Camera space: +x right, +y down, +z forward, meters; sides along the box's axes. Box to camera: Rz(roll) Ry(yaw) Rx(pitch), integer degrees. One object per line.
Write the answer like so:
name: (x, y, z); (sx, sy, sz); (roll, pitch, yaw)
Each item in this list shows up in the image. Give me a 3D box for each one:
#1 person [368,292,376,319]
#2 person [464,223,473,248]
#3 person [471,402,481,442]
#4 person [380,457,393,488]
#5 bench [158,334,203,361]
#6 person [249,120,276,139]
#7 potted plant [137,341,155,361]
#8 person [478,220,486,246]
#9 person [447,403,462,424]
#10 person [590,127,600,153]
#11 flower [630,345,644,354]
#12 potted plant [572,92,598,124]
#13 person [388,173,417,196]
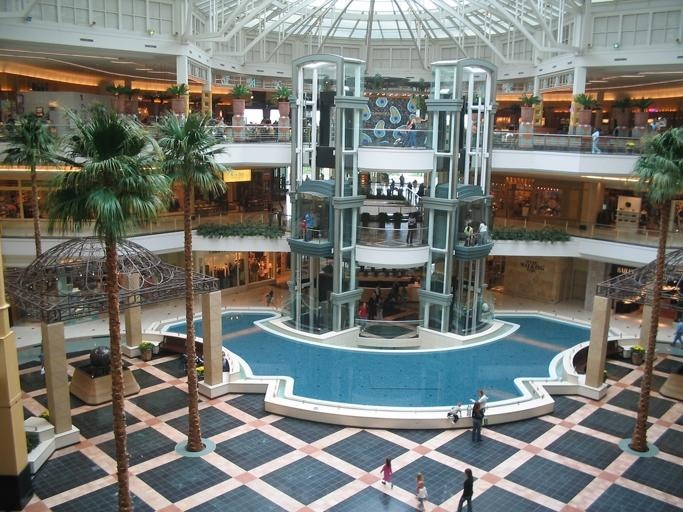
person: (1.874, 3.170, 32.970); (0.568, 1.127, 1.509); (3, 14, 2)
person: (6.957, -1.102, 29.349); (0.512, 0.976, 0.436); (2, 15, 1)
person: (4.856, 5.916, 19.274); (0.408, 1.398, 0.589); (6, 15, 13)
person: (1.445, 6.596, 16.771); (0.371, 0.971, 0.796); (3, 14, 5)
bench: (-7.930, 4.255, 25.622); (3.059, 0.821, 0.920); (1, -8, 22)
person: (-4.806, -7.546, 32.922); (1.782, 0.972, 0.422); (0, 15, -9)
potted plant: (-9.003, 4.421, 25.046); (0.681, 0.800, 0.668); (-6, 16, -28)
person: (7.880, -1.250, 30.021); (0.532, 1.071, 1.216); (6, 14, 13)
person: (4.205, 5.819, 20.080); (0.450, 0.816, 0.519); (11, 17, 31)
person: (14.839, -6.701, 31.421); (0.548, 1.307, 0.427); (5, 15, 10)
flower: (14.337, 4.542, 26.116); (0.398, 0.185, 0.395); (4, 5, 38)
potted plant: (14.794, -9.018, 32.884); (1.202, 1.963, 2.339); (7, 15, 20)
person: (3.484, -4.054, 31.168); (1.558, 0.763, 1.391); (1, 1, 3)
